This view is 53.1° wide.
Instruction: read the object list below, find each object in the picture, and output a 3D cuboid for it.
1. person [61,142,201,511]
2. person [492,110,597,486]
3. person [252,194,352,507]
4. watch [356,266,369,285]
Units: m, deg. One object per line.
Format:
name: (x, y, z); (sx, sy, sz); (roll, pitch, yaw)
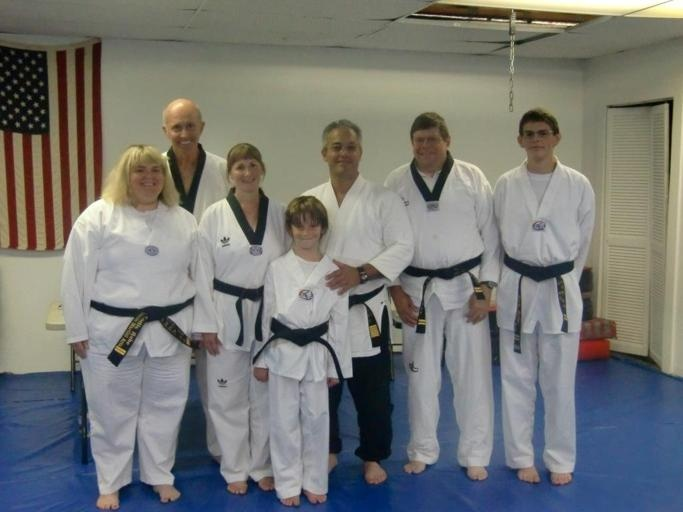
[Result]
person: (-1.361, 0.472, 4.494); (0.839, 2.296, 0.568); (-5, 15, -18)
person: (1.365, 0.273, 4.757); (0.673, 2.525, 0.678); (4, 15, 16)
person: (-0.245, 0.623, 4.586); (0.603, 1.980, 0.586); (-9, 17, -32)
watch: (0.143, 0.125, 4.654); (0.074, 0.118, 0.102); (-12, -2, -24)
